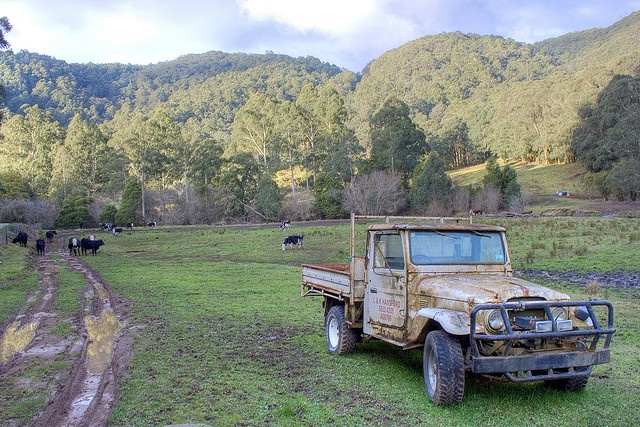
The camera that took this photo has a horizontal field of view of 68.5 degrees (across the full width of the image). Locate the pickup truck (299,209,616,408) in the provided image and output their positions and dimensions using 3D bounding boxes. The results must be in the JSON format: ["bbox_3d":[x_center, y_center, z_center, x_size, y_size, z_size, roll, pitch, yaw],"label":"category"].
[{"bbox_3d":[2.771,2.194,13.288,3.809,3.694,7.445,1,-4,-22],"label":"pickup truck"}]
